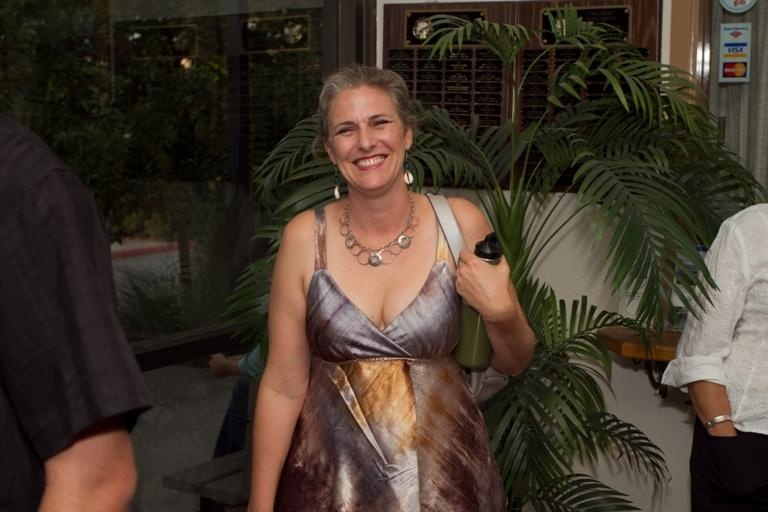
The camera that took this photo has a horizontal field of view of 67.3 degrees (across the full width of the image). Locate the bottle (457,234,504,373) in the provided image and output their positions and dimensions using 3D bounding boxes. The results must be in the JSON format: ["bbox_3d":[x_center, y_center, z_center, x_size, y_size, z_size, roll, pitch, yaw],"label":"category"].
[{"bbox_3d":[0.238,0.132,1.462,0.106,0.374,0.100,-1,10,0],"label":"bottle"}]
